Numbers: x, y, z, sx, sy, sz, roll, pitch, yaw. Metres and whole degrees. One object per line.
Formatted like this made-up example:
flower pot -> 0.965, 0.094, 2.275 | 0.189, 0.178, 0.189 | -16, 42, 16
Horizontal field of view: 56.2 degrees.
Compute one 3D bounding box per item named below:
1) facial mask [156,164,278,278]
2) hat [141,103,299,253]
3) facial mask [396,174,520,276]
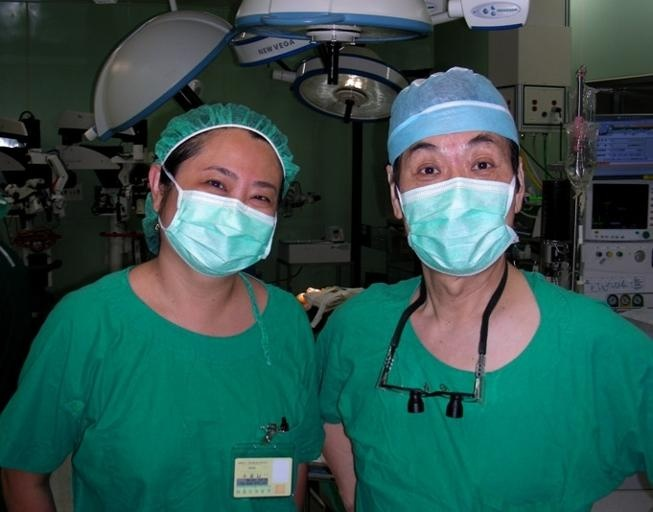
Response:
facial mask -> -0.292, -0.110, 1.722 | 0.237, 0.330, 0.214 | -4, 11, -34
hat -> -0.286, -0.264, 1.723 | 0.471, 0.423, 0.255 | -2, 12, -17
facial mask -> 0.351, -0.070, 1.603 | 0.256, 0.229, 0.265 | -3, 6, 9
